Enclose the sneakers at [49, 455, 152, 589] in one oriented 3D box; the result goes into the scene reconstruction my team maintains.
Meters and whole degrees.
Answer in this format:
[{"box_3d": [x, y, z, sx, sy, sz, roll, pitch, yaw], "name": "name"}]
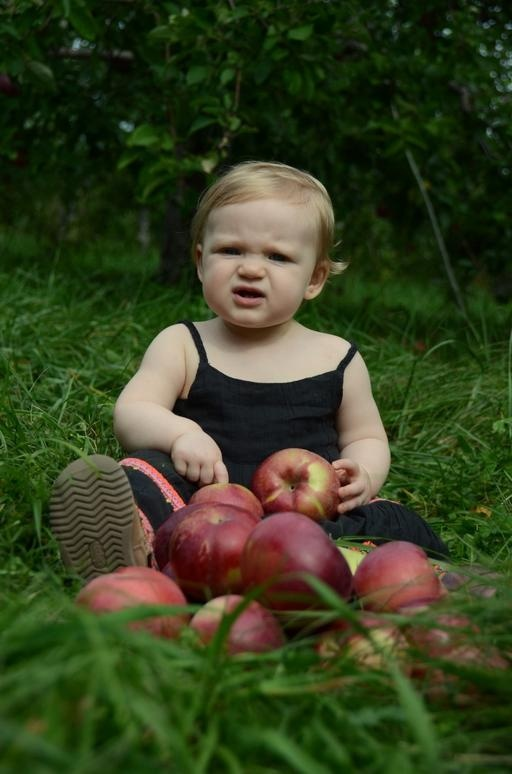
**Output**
[{"box_3d": [-0.276, 0.231, 1.236, 0.143, 0.246, 0.112, -8, 3, -2], "name": "sneakers"}]
